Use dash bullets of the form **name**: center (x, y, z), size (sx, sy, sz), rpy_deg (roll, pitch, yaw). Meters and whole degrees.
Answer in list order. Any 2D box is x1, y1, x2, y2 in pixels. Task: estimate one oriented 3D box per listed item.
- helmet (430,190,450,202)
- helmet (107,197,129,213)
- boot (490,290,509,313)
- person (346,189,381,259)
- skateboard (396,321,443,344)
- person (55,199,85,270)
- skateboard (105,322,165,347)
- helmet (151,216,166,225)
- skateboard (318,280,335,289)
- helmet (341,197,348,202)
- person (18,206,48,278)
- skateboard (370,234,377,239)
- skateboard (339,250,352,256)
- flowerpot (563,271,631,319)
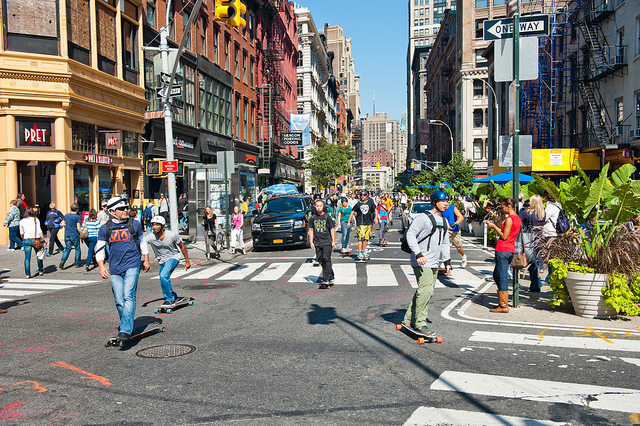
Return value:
- **helmet**: center (2.661, -0.403, 13.027), size (0.390, 0.243, 0.412), rpy_deg (1, 13, 7)
- **helmet**: center (-4.525, -0.195, 13.015), size (0.406, 0.333, 0.323), rpy_deg (1, 13, 7)
- **boot**: center (4.369, 2.151, 14.177), size (0.454, 0.481, 0.267), rpy_deg (2, 12, 11)
- **person**: center (1.615, 0.312, 21.779), size (1.007, 2.729, 1.273), rpy_deg (-1, 0, 10)
- **skateboard**: center (2.148, 2.537, 12.692), size (0.356, 0.178, 0.959), rpy_deg (5, 0, -21)
- **person**: center (-9.544, 0.840, 22.262), size (0.859, 2.562, 1.072), rpy_deg (0, 0, 14)
- **skateboard**: center (-4.024, 2.634, 12.829), size (0.382, 0.208, 1.360), rpy_deg (3, 10, 24)
- **helmet**: center (-3.841, 0.161, 14.032), size (0.204, 0.230, 0.307), rpy_deg (3, 7, 7)
- **skateboard**: center (0.211, 2.064, 16.605), size (0.362, 0.185, 0.154), rpy_deg (3, -12, -4)
- **helmet**: center (0.962, -0.533, 23.236), size (0.165, 0.140, 0.180), rpy_deg (1, -2, 2)
- **person**: center (-9.556, 0.927, 19.497), size (0.844, 2.362, 0.802), rpy_deg (4, 9, 33)
- **skateboard**: center (2.623, 1.142, 28.614), size (0.294, 0.112, 0.196), rpy_deg (-3, 2, 33)
- **skateboard**: center (0.986, 1.576, 22.746), size (0.425, 0.279, 0.205), rpy_deg (-3, 7, 17)
- **flowerpot**: center (6.480, 1.811, 13.645), size (1.081, 0.898, 1.110), rpy_deg (1, 2, 40)
